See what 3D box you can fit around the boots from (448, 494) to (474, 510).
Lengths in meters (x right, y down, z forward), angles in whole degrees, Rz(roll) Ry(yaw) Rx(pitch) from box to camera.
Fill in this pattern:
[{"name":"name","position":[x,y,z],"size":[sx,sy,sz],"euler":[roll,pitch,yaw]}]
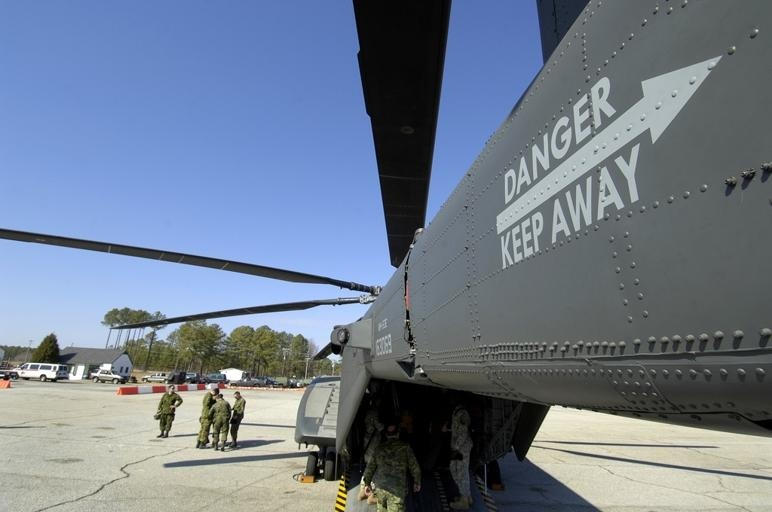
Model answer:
[{"name":"boots","position":[1.089,3.487,5.776],"size":[0.375,0.233,0.130],"euler":[4,-12,-2]}]

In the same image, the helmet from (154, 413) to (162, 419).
[{"name":"helmet","position":[-6.411,4.489,11.298],"size":[0.180,0.078,0.246],"euler":[15,-14,-39]}]

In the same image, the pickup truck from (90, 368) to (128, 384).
[{"name":"pickup truck","position":[-27.000,11.879,39.628],"size":[3.634,1.228,1.790],"euler":[-4,-14,14]}]
